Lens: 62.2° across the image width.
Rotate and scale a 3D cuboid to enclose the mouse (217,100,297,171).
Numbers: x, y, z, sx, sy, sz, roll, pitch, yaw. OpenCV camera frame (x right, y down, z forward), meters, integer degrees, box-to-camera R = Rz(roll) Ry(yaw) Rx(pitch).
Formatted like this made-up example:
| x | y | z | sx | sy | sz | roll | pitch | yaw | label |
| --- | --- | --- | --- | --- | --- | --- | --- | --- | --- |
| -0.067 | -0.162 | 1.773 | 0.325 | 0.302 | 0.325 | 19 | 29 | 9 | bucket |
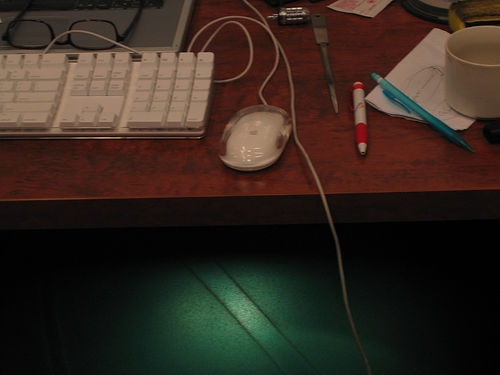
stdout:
| x | y | z | sx | sy | sz | roll | pitch | yaw | label |
| --- | --- | --- | --- | --- | --- | --- | --- | --- | --- |
| 0.015 | -0.090 | 0.654 | 0.114 | 0.028 | 0.150 | 8 | 56 | 4 | mouse |
